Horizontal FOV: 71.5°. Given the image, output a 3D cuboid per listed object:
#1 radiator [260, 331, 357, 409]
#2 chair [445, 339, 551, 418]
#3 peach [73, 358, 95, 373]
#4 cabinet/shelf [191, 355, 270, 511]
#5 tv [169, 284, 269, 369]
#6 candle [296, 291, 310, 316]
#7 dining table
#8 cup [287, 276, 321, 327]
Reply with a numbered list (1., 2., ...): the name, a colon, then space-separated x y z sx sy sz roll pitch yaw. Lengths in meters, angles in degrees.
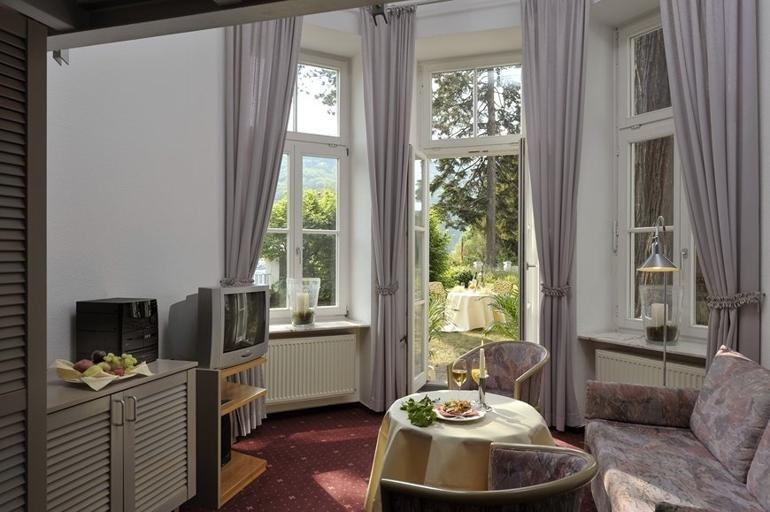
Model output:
1. radiator: -0.826 1.155 5.487 0.885 0.644 0.172 1 -2 -31
2. chair: 0.926 0.922 4.582 0.710 0.854 0.749 -1 -7 34
3. peach: -1.991 0.707 3.517 0.078 0.052 0.096 8 7 9
4. cabinet/shelf: -1.260 1.428 4.262 0.554 1.054 1.054 -1 0 8
5. tv: -1.445 0.565 4.445 0.629 0.565 0.658 2 1 15
6. candle: -0.832 0.472 5.404 0.164 0.291 0.168 -1 -6 9
7. dining table: 0.494 1.265 3.669 0.958 0.510 0.965 -1 0 6
8. cup: -0.828 0.471 5.514 0.424 0.541 0.400 -1 -4 0
